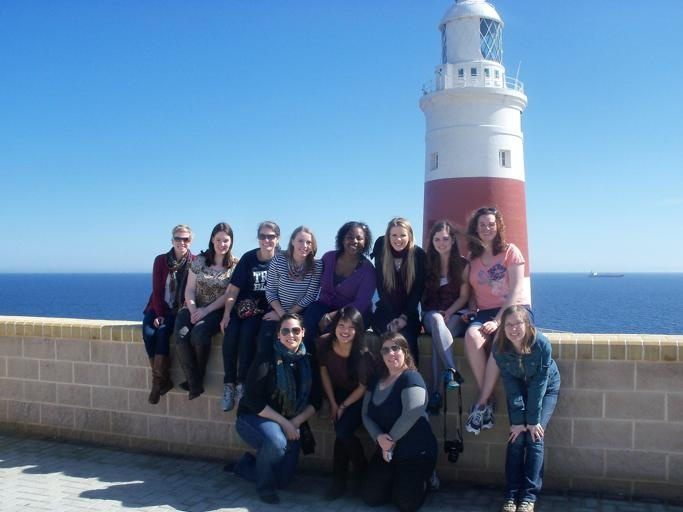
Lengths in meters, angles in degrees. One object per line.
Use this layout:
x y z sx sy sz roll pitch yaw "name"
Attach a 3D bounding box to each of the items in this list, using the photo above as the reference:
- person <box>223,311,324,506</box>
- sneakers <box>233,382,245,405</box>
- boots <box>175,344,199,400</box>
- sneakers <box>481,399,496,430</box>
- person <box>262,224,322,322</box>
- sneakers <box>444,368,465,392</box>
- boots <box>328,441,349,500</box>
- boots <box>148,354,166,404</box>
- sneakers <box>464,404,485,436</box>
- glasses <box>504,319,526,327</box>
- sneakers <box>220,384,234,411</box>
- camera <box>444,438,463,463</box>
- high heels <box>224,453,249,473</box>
-0.666 1.574 6.416 0.915 1.909 0.504 1 -2 -12 "person"
-1.181 1.563 6.857 0.097 0.332 0.192 1 -12 2 "sneakers"
-1.855 1.391 7.168 0.303 0.715 0.367 1 -2 -19 "boots"
1.581 1.699 6.375 0.115 0.387 0.159 4 -3 10 "sneakers"
-0.571 0.244 7.002 0.698 1.160 0.704 3 17 -29 "person"
1.211 1.324 6.398 0.181 0.272 0.360 0 -2 17 "sneakers"
-0.031 2.240 6.313 0.210 0.583 0.253 0 -2 8 "boots"
-2.275 1.506 7.287 0.172 0.645 0.339 1 -2 -21 "boots"
1.410 1.709 6.339 0.130 0.393 0.169 15 1 -1 "sneakers"
1.741 0.669 5.979 0.175 0.066 0.043 0 -2 17 "glasses"
-1.339 1.625 6.943 0.126 0.395 0.157 0 2 4 "sneakers"
1.205 2.073 6.403 0.172 0.264 0.095 0 2 19 "camera"
-1.157 2.375 6.817 0.160 0.231 0.516 23 -33 -32 "high heels"
